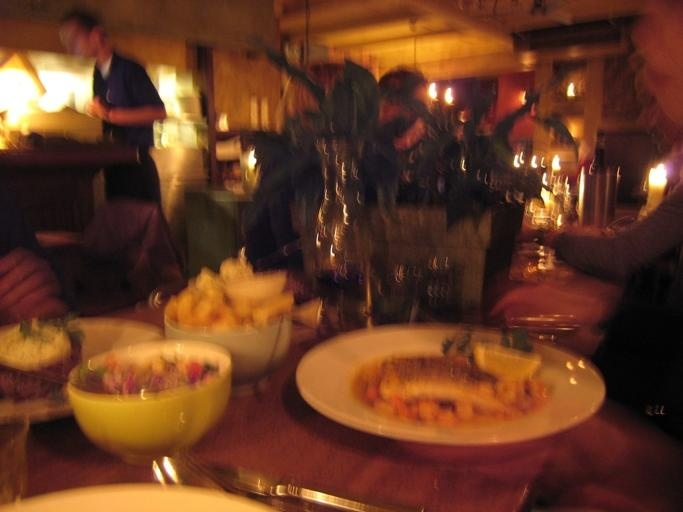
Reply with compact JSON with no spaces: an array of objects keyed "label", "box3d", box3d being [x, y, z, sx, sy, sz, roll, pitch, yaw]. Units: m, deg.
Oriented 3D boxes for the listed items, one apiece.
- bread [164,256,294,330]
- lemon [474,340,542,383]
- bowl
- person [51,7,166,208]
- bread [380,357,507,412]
[{"label":"bread","box3d":[-0.138,0.036,0.745,0.099,0.057,0.095,-1,2,24]},{"label":"lemon","box3d":[0.202,0.133,0.726,0.057,0.024,0.043,12,24,23]},{"label":"bowl","box3d":[-0.139,0.120,0.770,0.143,0.098,0.155,2,-14,0]},{"label":"person","box3d":[-0.807,-0.600,2.186,0.383,0.624,1.170,-4,16,-25]},{"label":"bread","box3d":[0.119,0.154,0.715,0.101,0.027,0.064,1,16,22]}]
